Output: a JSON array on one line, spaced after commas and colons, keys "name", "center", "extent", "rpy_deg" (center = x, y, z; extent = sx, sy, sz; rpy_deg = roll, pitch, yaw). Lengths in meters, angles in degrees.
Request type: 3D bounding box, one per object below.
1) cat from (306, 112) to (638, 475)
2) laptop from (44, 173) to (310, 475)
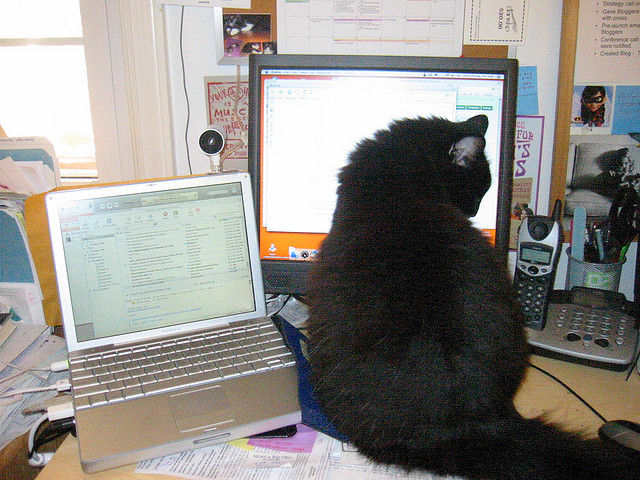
[{"name": "cat", "center": [0.215, 0.065, 0.870], "extent": [0.485, 0.504, 0.467], "rpy_deg": [-5, 21, -6]}, {"name": "laptop", "center": [-0.258, 0.116, 0.907], "extent": [0.382, 0.400, 0.327], "rpy_deg": [-9, 22, -15]}]
